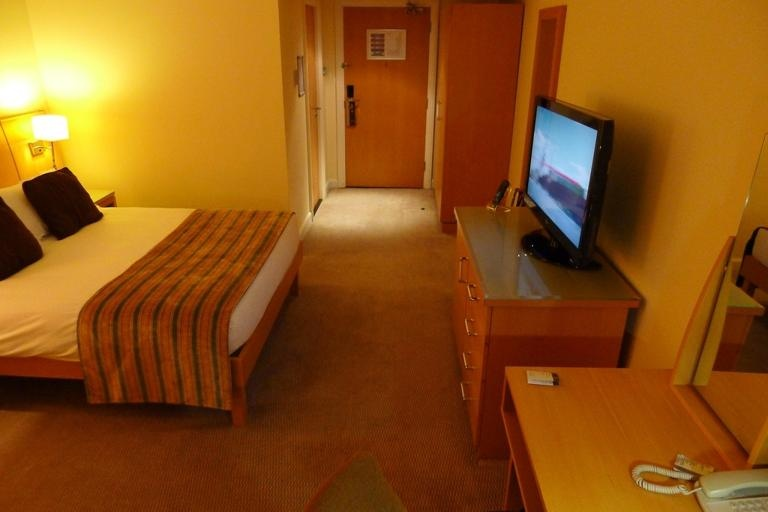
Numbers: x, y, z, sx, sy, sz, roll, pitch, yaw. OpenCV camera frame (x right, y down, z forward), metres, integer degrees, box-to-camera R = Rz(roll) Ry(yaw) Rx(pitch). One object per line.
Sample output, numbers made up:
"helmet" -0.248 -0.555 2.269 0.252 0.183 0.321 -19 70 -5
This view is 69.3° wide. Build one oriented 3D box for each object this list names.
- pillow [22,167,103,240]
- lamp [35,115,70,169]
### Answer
"pillow" -2.478 -0.398 4.269 0.159 0.502 0.538 -25 15 27
"lamp" -3.031 -1.019 5.085 0.270 0.598 0.220 -12 38 -38
